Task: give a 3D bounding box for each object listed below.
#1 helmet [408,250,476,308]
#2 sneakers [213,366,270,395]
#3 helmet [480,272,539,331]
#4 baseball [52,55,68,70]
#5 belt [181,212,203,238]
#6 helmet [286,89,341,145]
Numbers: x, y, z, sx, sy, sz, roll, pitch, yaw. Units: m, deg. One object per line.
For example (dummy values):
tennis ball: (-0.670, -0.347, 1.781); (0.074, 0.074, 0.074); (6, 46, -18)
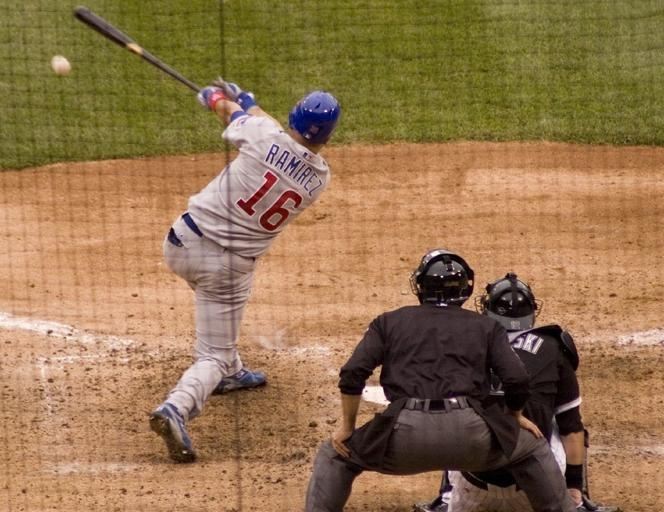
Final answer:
helmet: (0.933, 0.207, 10.883); (0.622, 0.415, 0.560); (-8, 17, -20)
sneakers: (-0.844, 1.166, 12.336); (0.631, 0.207, 0.183); (-9, 33, -16)
helmet: (1.526, 0.341, 11.074); (0.632, 0.357, 0.600); (2, 19, 8)
baseball: (-2.901, -2.065, 13.883); (0.186, 0.180, 0.291); (6, 2, -11)
belt: (-1.225, -0.278, 11.356); (0.225, 0.050, 0.203); (37, -5, -3)
helmet: (-0.079, -1.232, 11.410); (0.400, 0.407, 0.512); (41, 32, -5)
